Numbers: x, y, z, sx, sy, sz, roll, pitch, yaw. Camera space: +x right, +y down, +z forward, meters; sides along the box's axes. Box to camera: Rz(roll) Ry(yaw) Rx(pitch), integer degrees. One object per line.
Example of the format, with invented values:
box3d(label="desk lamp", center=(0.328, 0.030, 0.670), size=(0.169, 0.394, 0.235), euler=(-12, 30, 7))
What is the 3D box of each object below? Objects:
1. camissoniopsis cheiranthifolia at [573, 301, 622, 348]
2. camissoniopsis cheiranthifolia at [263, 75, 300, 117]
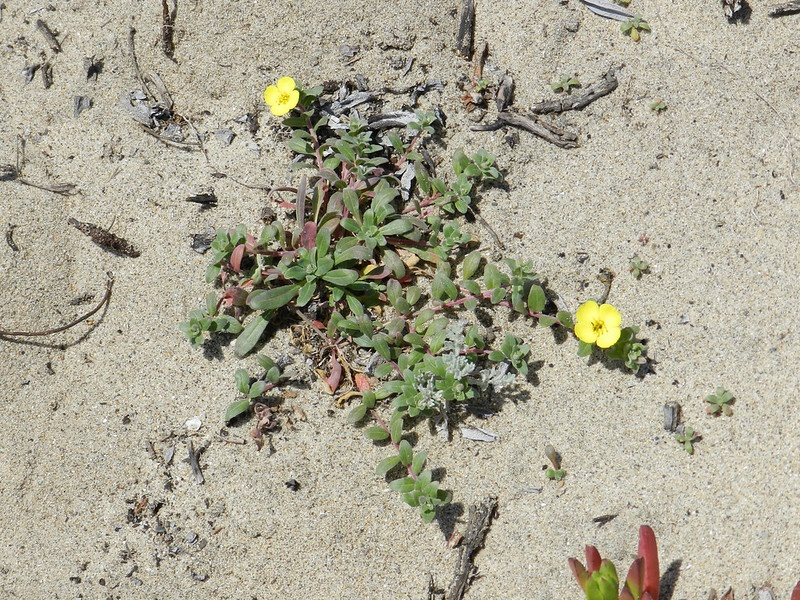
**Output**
box3d(label="camissoniopsis cheiranthifolia", center=(1.477, 0.172, 7.264), size=(0.390, 0.334, 0.195), euler=(-38, 123, -31))
box3d(label="camissoniopsis cheiranthifolia", center=(-0.949, -1.654, 7.832), size=(0.295, 0.131, 0.323), euler=(-43, 65, 28))
